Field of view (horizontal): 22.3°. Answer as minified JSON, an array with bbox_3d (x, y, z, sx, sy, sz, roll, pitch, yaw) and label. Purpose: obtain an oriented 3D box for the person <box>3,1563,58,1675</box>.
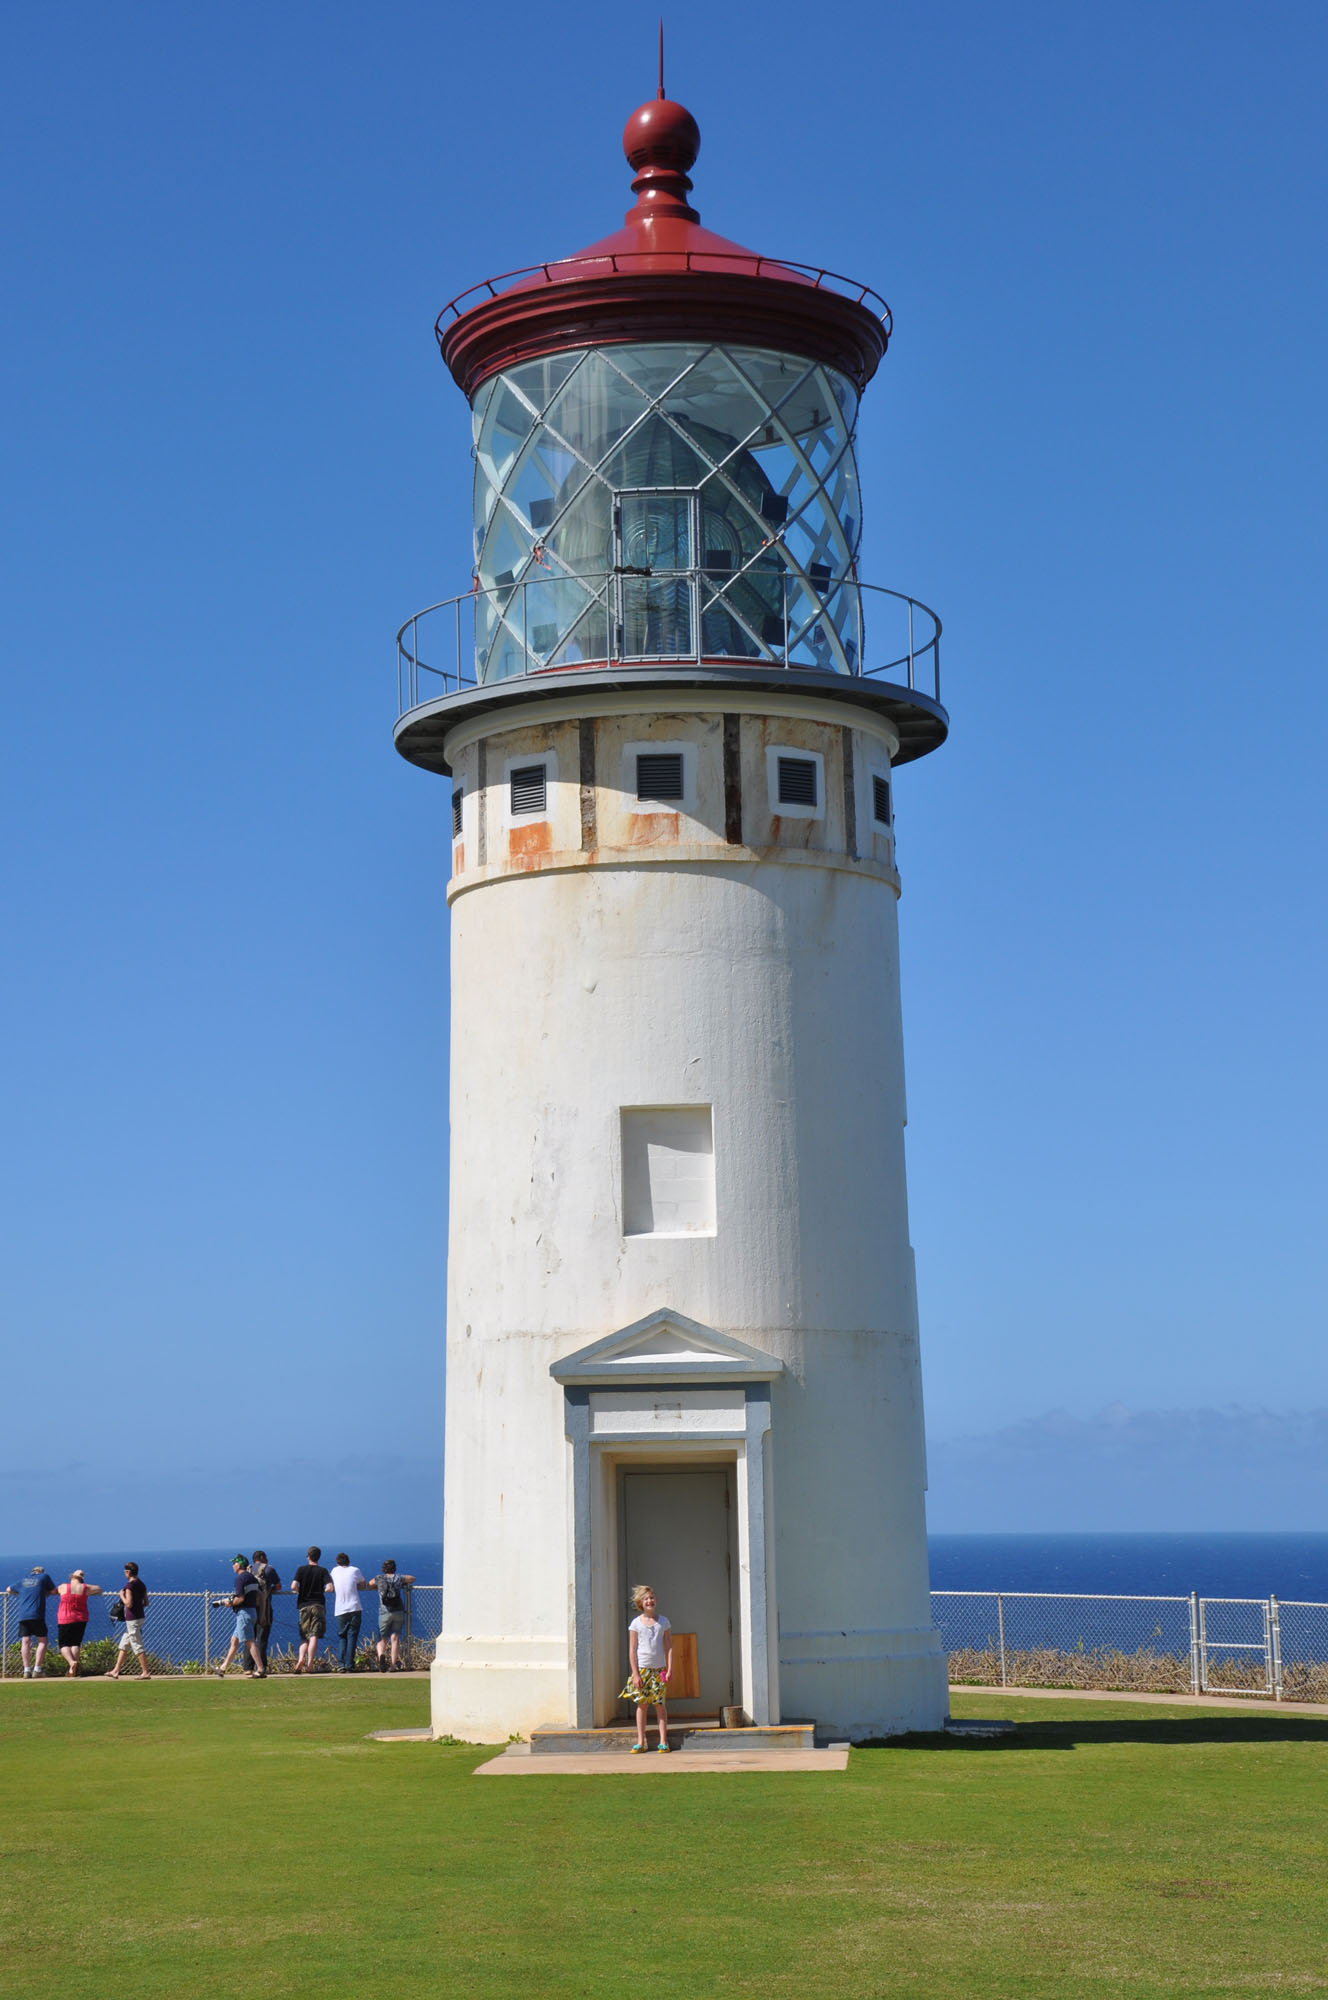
[{"bbox_3d":[-7.613,7.331,40.510,0.449,1.505,3.030,2,-15,-11],"label":"person"}]
